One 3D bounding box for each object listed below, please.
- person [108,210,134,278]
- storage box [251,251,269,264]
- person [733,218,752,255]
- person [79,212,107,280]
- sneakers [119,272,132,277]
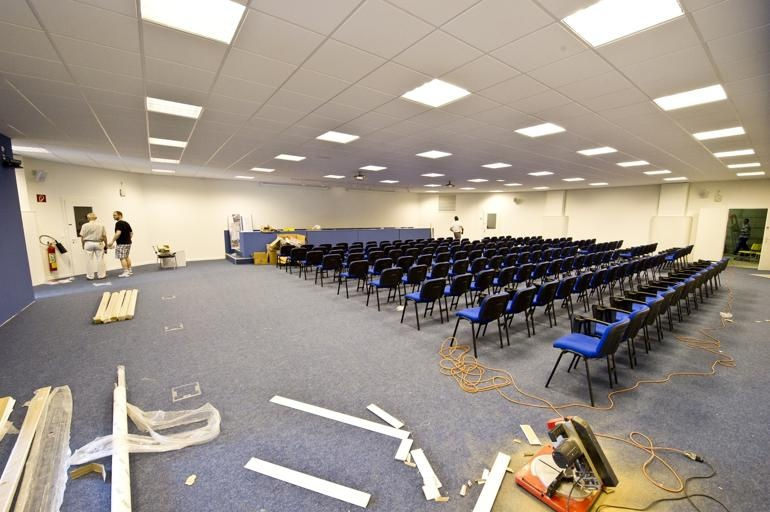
[{"bbox_3d":[-6.960,-0.306,11.509,0.492,1.775,1.271,-7,15,-29],"label":"person"},{"bbox_3d":[-3.989,0.066,13.923,0.459,0.384,0.411,-5,11,-36],"label":"storage box"},{"bbox_3d":[13.891,-0.731,16.829,0.456,1.488,1.856,11,16,38],"label":"person"},{"bbox_3d":[-7.432,-0.257,11.142,0.544,1.712,0.955,-8,16,-32],"label":"person"},{"bbox_3d":[-6.845,0.529,11.532,0.129,0.144,0.359,2,1,32],"label":"sneakers"}]
